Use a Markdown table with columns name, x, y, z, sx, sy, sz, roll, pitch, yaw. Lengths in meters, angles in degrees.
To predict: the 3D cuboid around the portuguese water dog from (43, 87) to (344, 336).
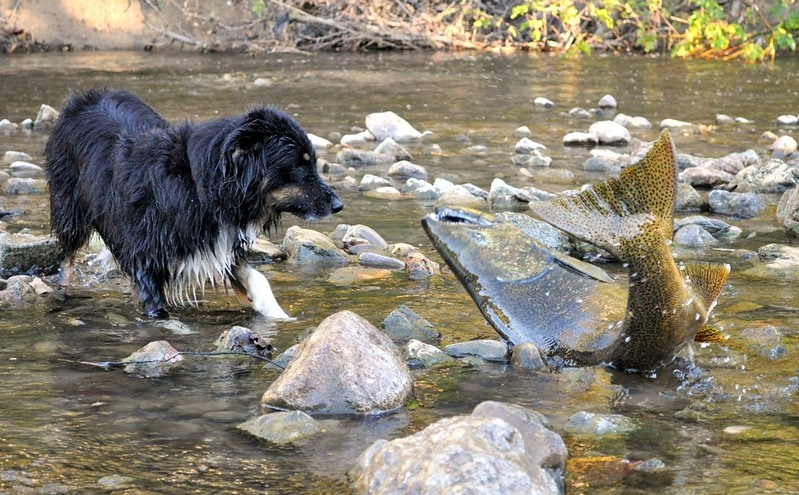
| name | x | y | z | sx | sy | sz | roll | pitch | yaw |
| --- | --- | --- | --- | --- | --- | --- | --- | --- | --- |
| portuguese water dog | -2.584 | -0.509 | 13.080 | 1.770 | 2.326 | 4.789 | -19 | 23 | -37 |

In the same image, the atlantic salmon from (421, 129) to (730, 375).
| name | x | y | z | sx | sy | sz | roll | pitch | yaw |
| --- | --- | --- | --- | --- | --- | --- | --- | --- | --- |
| atlantic salmon | 2.006 | 0.144 | 11.596 | 1.448 | 2.352 | 4.301 | -35 | 11 | -13 |
